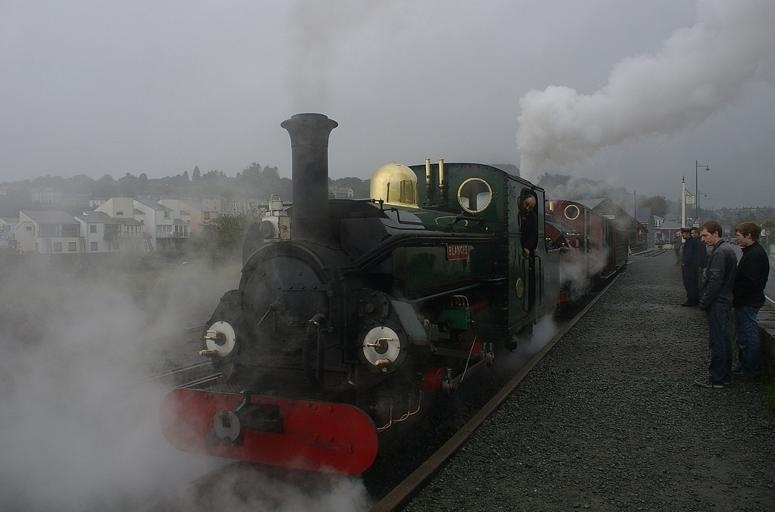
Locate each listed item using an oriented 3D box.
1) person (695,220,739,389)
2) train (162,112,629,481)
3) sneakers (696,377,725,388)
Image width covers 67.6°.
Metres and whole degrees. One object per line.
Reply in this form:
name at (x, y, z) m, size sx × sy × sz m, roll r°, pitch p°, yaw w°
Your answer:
person at (5.196, 0.735, 9.118) m, size 0.471 × 2.565 × 0.909 m, roll 1°, pitch 5°, yaw 29°
train at (0.016, 0.354, 8.500) m, size 2.558 × 4.496 × 5.486 m, roll 2°, pitch 6°, yaw 37°
sneakers at (5.054, 1.982, 9.066) m, size 0.378 × 0.176 × 0.168 m, roll 4°, pitch 3°, yaw 28°
